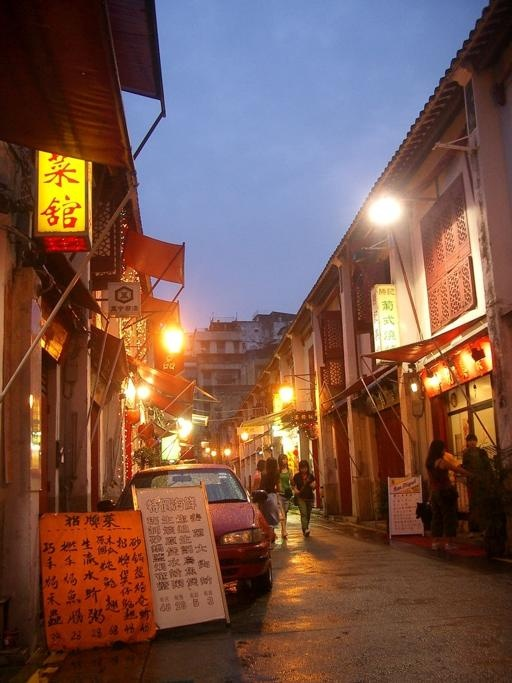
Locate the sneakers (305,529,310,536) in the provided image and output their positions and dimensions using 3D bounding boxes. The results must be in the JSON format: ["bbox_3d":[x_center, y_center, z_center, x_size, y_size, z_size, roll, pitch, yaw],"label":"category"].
[{"bbox_3d":[1.213,4.503,13.064,0.156,0.178,0.193,-1,-23,0],"label":"sneakers"}]

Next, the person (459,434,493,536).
[{"bbox_3d":[3.331,2.110,8.326,0.383,1.458,1.386,-8,-15,18],"label":"person"}]

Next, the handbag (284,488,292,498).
[{"bbox_3d":[0.761,3.533,12.814,0.162,0.214,0.284,-7,-14,16],"label":"handbag"}]

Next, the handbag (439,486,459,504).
[{"bbox_3d":[3.183,2.570,9.206,0.343,0.330,0.171,-2,-14,-7],"label":"handbag"}]

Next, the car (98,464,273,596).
[{"bbox_3d":[-0.956,2.541,7.523,2.039,1.715,3.723,-2,-19,-5],"label":"car"}]
